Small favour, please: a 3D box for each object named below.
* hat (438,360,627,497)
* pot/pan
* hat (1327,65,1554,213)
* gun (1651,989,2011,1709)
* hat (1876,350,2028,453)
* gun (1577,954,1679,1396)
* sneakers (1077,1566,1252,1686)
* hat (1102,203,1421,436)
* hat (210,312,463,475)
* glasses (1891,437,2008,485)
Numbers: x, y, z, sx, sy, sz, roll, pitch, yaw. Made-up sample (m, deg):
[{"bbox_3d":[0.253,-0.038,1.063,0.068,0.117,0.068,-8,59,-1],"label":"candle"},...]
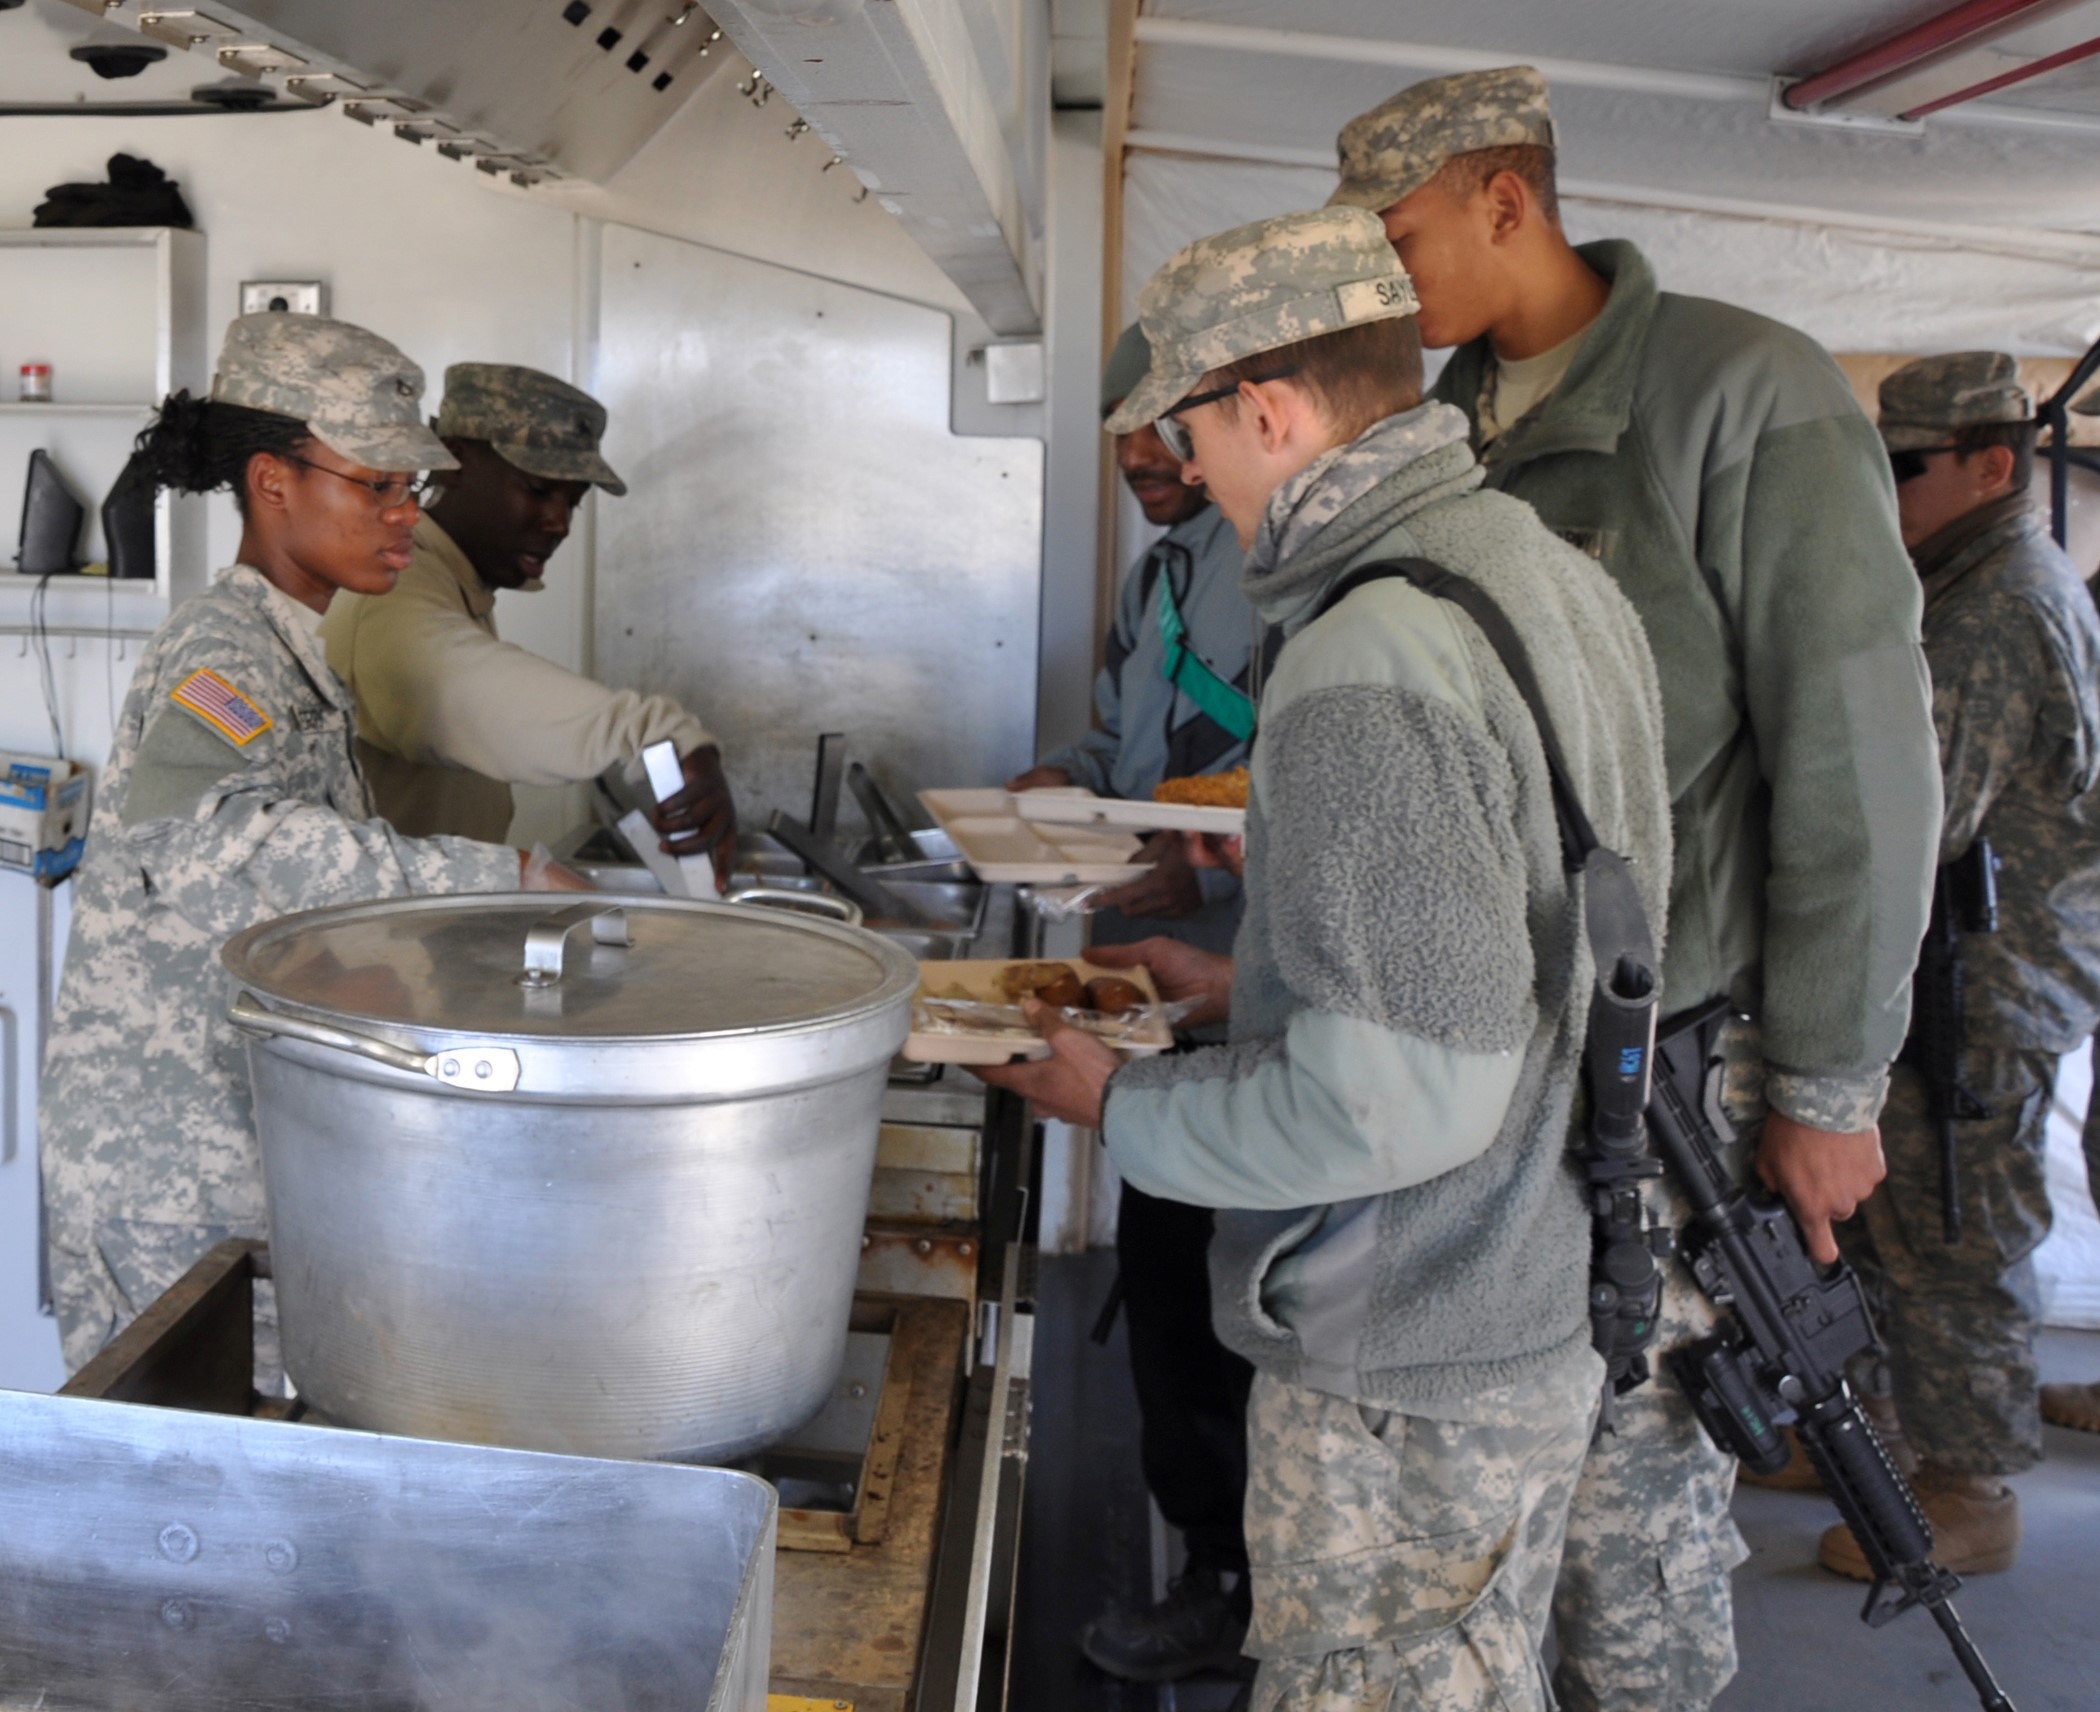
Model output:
[{"bbox_3d":[-0.822,-0.686,3.123,0.324,0.177,0.264,10,9,4],"label":"hat"},{"bbox_3d":[-0.397,0.250,1.646,0.522,0.402,0.521,1,9,-22],"label":"pot/pan"},{"bbox_3d":[0.440,-0.806,2.183,0.231,0.109,0.158,-17,14,14],"label":"hat"},{"bbox_3d":[0.872,0.577,2.184,0.643,0.844,0.185,-1,7,-40],"label":"gun"},{"bbox_3d":[1.526,-0.777,3.357,0.240,0.116,0.184,10,32,35],"label":"hat"},{"bbox_3d":[0.511,0.288,1.759,0.082,0.428,0.263,5,6,17],"label":"gun"},{"bbox_3d":[0.173,1.114,2.865,0.305,0.137,0.111,3,16,0],"label":"sneakers"},{"bbox_3d":[0.189,-0.511,1.828,0.311,0.150,0.204,-11,13,16],"label":"hat"},{"bbox_3d":[-0.800,-0.537,2.213,0.295,0.141,0.214,18,20,5],"label":"hat"},{"bbox_3d":[1.535,-0.693,3.397,0.205,0.061,0.196,2,11,12],"label":"glasses"}]
